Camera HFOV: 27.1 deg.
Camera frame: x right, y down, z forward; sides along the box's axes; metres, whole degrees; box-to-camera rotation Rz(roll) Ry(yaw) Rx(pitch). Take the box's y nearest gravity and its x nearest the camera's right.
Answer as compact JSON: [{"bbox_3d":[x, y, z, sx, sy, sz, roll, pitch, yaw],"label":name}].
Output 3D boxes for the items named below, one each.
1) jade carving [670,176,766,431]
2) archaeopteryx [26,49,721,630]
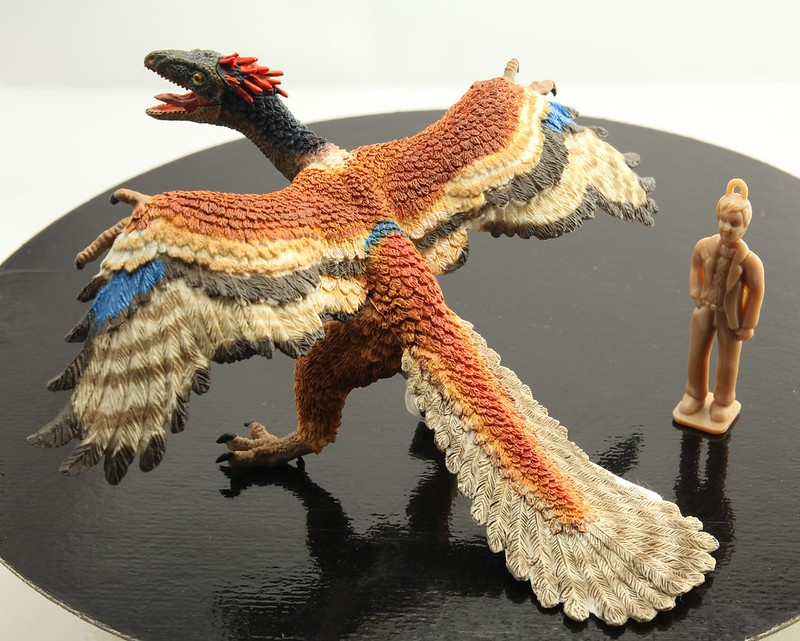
[{"bbox_3d":[0.702,-0.019,3.634,0.171,0.607,0.154,30,52,27],"label":"jade carving"},{"bbox_3d":[-0.050,-0.036,3.629,1.227,1.217,1.086,-13,22,10],"label":"archaeopteryx"}]
